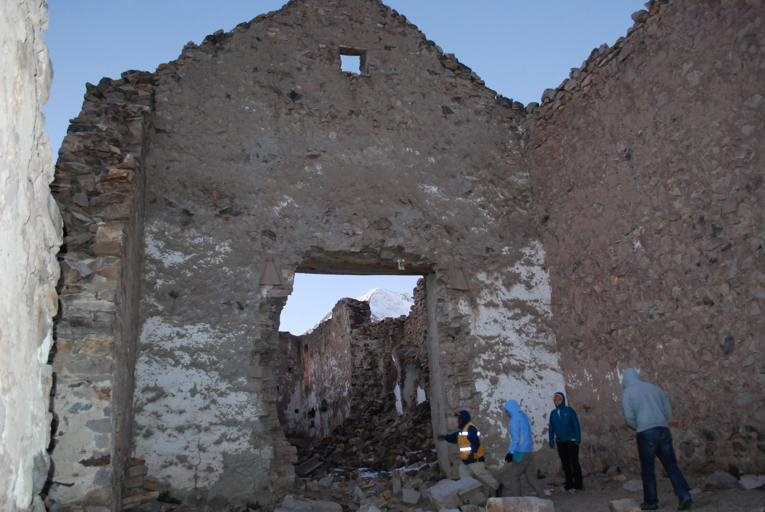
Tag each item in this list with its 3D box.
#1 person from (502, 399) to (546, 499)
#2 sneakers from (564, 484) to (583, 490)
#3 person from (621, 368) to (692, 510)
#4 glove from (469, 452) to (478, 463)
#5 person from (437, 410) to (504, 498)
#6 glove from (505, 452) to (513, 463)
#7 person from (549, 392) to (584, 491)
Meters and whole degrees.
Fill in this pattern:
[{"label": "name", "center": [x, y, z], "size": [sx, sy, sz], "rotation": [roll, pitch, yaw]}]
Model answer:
[{"label": "person", "center": [1.679, 2.285, 8.837], "size": [0.419, 1.076, 0.693], "rotation": [-3, -20, 12]}, {"label": "sneakers", "center": [2.265, 2.752, 8.813], "size": [0.207, 0.079, 0.118], "rotation": [-3, -19, 12]}, {"label": "person", "center": [2.805, 1.855, 7.652], "size": [0.537, 1.433, 0.341], "rotation": [-7, -21, 23]}, {"label": "glove", "center": [1.109, 2.450, 9.065], "size": [0.153, 0.138, 0.039], "rotation": [0, 2, 9]}, {"label": "person", "center": [1.110, 2.403, 9.185], "size": [0.633, 1.057, 0.712], "rotation": [3, -19, -5]}, {"label": "glove", "center": [1.489, 2.356, 8.709], "size": [0.095, 0.106, 0.273], "rotation": [-2, -19, 8]}, {"label": "person", "center": [2.193, 2.235, 8.913], "size": [0.342, 1.120, 0.487], "rotation": [-4, -20, 14]}]
